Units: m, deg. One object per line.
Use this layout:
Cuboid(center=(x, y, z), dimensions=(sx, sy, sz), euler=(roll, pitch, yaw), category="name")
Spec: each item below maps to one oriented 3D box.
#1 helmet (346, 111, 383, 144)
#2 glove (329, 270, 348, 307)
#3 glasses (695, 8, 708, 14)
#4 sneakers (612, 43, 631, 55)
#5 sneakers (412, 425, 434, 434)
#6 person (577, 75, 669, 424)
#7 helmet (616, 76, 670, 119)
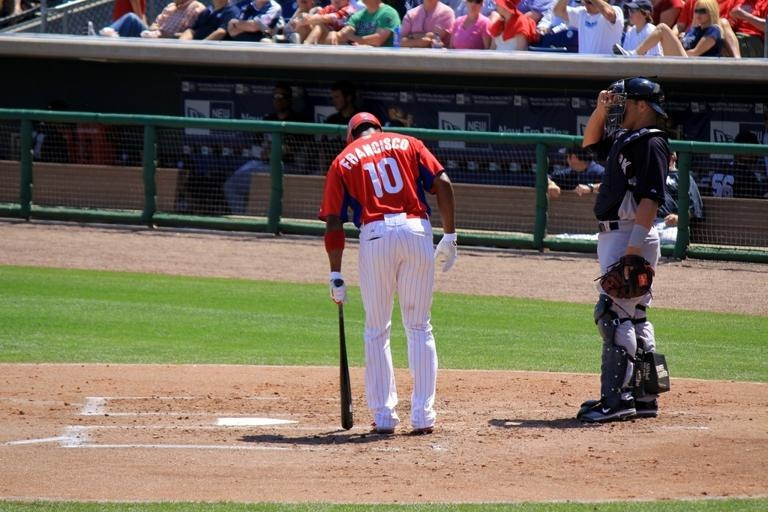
Cuboid(center=(-0.214, -1.489, 22.655), dimensions=(0.378, 0.435, 0.397), euler=(0, 30, -5), category="helmet")
Cuboid(center=(-0.517, 0.423, 22.269), dimensions=(0.148, 0.391, 0.172), euler=(-3, 12, -3), category="glove")
Cuboid(center=(4.794, -3.610, 28.180), dimensions=(0.182, 0.072, 0.163), euler=(1, 3, 21), category="glasses")
Cuboid(center=(3.614, -3.014, 28.386), dimensions=(0.132, 0.149, 0.392), euler=(-35, -27, 19), category="sneakers")
Cuboid(center=(0.479, 2.082, 22.164), dimensions=(0.248, 0.100, 0.101), euler=(1, -1, -2), category="sneakers")
Cuboid(center=(2.908, -0.030, 22.422), dimensions=(1.046, 4.069, 0.598), euler=(1, 3, 11), category="person")
Cuboid(center=(3.081, -1.907, 22.561), dimensions=(0.667, 0.356, 0.437), euler=(6, 6, -1), category="helmet")
